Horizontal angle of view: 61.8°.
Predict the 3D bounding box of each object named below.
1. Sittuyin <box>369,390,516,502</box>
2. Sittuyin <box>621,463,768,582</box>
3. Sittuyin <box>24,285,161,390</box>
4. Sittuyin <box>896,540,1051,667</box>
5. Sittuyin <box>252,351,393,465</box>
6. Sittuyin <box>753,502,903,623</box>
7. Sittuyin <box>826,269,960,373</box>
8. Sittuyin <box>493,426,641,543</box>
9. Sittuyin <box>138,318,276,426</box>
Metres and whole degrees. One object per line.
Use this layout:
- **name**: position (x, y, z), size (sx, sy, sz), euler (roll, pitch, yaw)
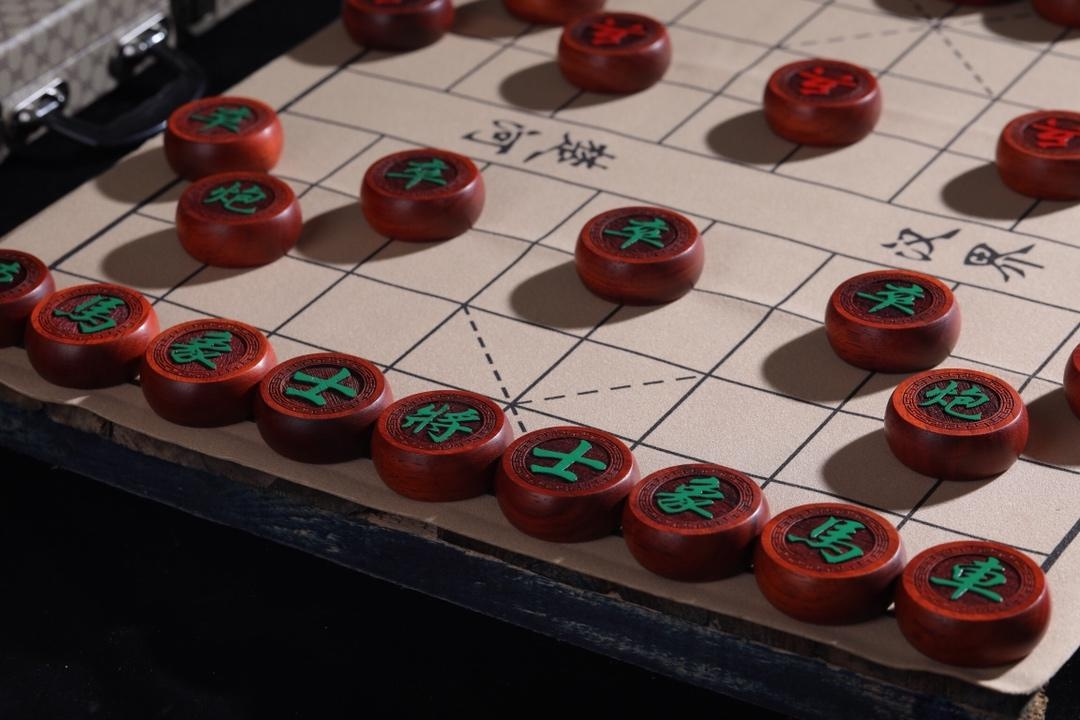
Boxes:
- **Sittuyin**: position (-0.160, 0.135, 1.472), size (0.219, 0.090, 0.174), euler (-8, 52, -3)
- **Sittuyin**: position (0.234, 0.240, 1.370), size (0.200, 0.090, 0.176), euler (18, 55, 16)
- **Sittuyin**: position (-0.782, -0.050, 1.733), size (0.295, 0.295, 0.116), euler (6, 85, 42)
- **Sittuyin**: position (0.622, 0.335, 1.286), size (0.199, 0.080, 0.195), euler (4, 31, 38)
- **Sittuyin**: position (-0.369, 0.076, 1.529), size (0.212, 0.084, 0.186), euler (6, 53, 8)
- **Sittuyin**: position (0.422, 0.293, 1.316), size (0.206, 0.086, 0.167), euler (9, 53, 10)
- **Sittuyin**: position (0.633, -0.072, 1.626), size (0.228, 0.087, 0.180), euler (-2, 52, 2)
- **Sittuyin**: position (0.040, 0.190, 1.423), size (0.205, 0.089, 0.179), euler (16, 55, 15)
- **Sittuyin**: position (-0.589, 0.004, 1.594), size (0.204, 0.080, 0.204), euler (29, 48, 24)
